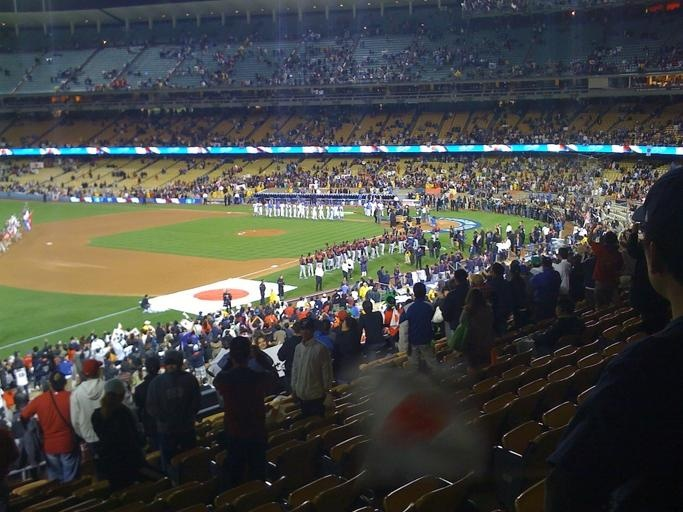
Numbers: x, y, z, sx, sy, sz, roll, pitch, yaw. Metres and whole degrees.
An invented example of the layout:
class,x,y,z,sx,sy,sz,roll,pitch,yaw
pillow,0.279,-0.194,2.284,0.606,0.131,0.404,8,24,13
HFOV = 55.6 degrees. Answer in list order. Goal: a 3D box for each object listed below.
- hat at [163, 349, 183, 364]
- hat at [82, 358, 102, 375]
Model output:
class,x,y,z,sx,sy,sz,roll,pitch,yaw
hat,-2.532,1.511,9.704,0.240,0.241,0.183,-4,-7,43
hat,-3.802,1.639,9.834,0.224,0.186,0.333,2,33,-3
